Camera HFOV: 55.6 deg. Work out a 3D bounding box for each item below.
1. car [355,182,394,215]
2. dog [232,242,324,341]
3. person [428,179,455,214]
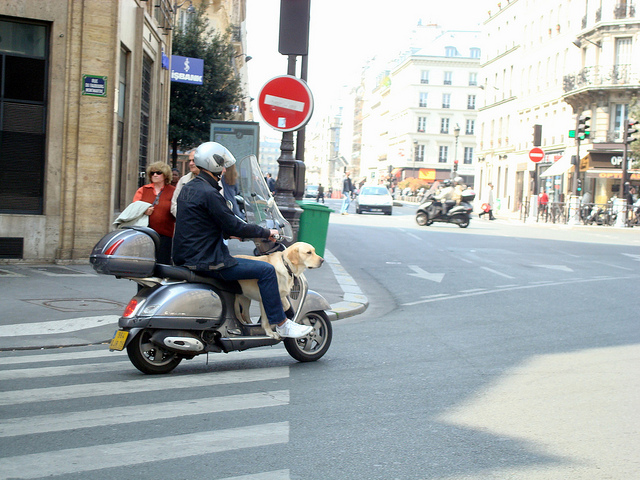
[{"bbox_3d":[3.753,-2.794,41.576,2.389,1.930,2.267,4,4,0],"label":"car"},{"bbox_3d":[-0.572,0.464,6.289,1.440,0.760,0.561,-6,-19,37],"label":"dog"},{"bbox_3d":[6.116,-2.131,29.946,1.052,1.639,1.105,6,4,5],"label":"person"}]
